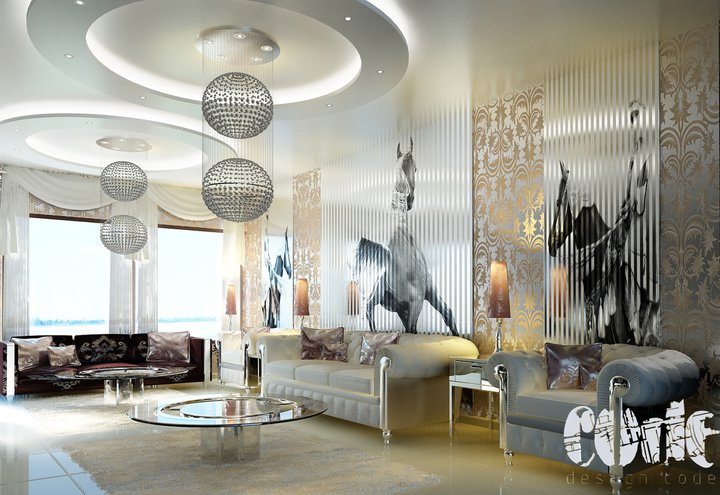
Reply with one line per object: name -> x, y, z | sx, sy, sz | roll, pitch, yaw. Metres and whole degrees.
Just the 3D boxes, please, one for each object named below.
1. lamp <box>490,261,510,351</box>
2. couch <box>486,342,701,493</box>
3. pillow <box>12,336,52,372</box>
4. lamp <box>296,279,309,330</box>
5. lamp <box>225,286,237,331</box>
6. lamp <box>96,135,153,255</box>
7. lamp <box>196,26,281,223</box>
lamp -> 1.593, 0.651, 6.141 | 0.235, 0.978, 0.370 | 0, 0, 15
couch -> 2.296, 1.597, 5.416 | 1.326, 1.266, 1.742 | 7, -9, -35
pillow -> -5.004, 1.639, 8.201 | 0.320, 0.360, 0.130 | 12, -31, -43
lamp -> -0.992, 0.938, 9.370 | 0.223, 0.814, 0.440 | 0, 0, -7
lamp -> -2.723, 1.244, 11.359 | 0.249, 0.985, 0.529 | 0, 0, -13
lamp -> -3.313, -0.931, 7.586 | 0.656, 2.034, 0.619 | 1, 2, -8
lamp -> -1.277, -1.297, 5.711 | 0.850, 2.014, 0.933 | 0, 0, -15
